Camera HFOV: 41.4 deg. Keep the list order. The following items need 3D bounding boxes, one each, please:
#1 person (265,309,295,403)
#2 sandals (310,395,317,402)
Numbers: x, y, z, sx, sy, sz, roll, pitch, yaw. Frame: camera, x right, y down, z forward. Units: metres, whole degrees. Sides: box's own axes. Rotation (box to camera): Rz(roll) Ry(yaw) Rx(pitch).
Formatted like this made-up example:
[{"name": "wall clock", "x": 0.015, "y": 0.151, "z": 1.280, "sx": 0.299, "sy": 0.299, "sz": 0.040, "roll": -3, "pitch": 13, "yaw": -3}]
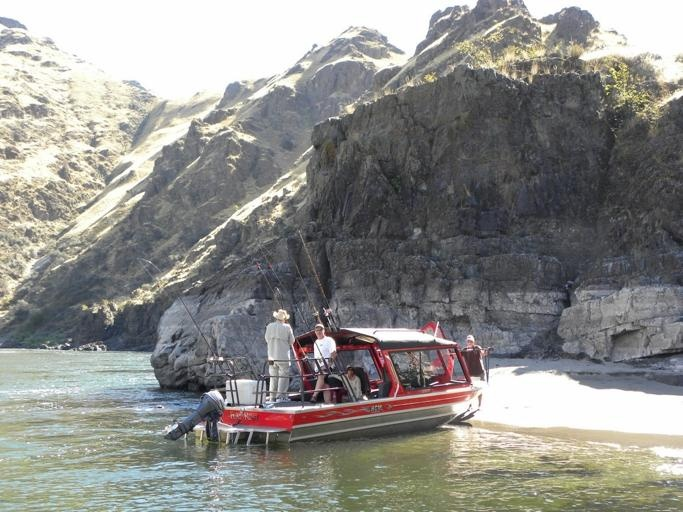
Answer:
[{"name": "person", "x": -2.250, "y": 3.901, "z": 34.603, "sx": 1.397, "sy": 3.341, "sz": 1.010, "roll": -1, "pitch": -2, "yaw": -24}, {"name": "sandals", "x": -1.076, "y": 5.621, "z": 34.993, "sx": 0.246, "sy": 0.192, "sz": 0.592, "roll": -2, "pitch": -11, "yaw": 7}]
